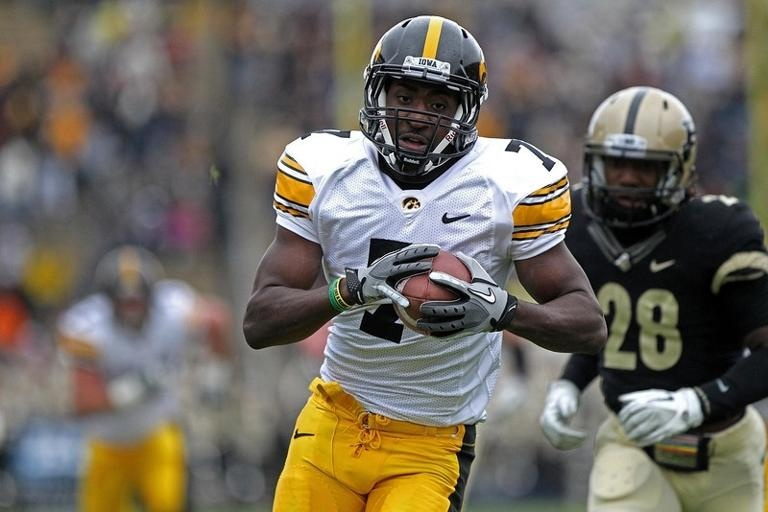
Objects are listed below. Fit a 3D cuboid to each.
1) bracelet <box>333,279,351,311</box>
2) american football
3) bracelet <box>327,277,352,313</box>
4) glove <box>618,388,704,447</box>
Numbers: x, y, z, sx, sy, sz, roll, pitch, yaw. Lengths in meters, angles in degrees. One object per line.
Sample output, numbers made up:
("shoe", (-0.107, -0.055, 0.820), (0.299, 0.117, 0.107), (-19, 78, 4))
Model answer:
("bracelet", (-0.203, 0.163, 4.497), (0.103, 0.119, 0.083), (6, 10, -9))
("american football", (0.192, 0.144, 4.525), (0.299, 0.300, 0.374), (5, -5, -7))
("bracelet", (-0.217, 0.159, 4.493), (0.119, 0.132, 0.094), (10, -7, -36))
("glove", (1.386, 0.783, 5.034), (0.364, 0.267, 0.158), (-6, -16, 18))
